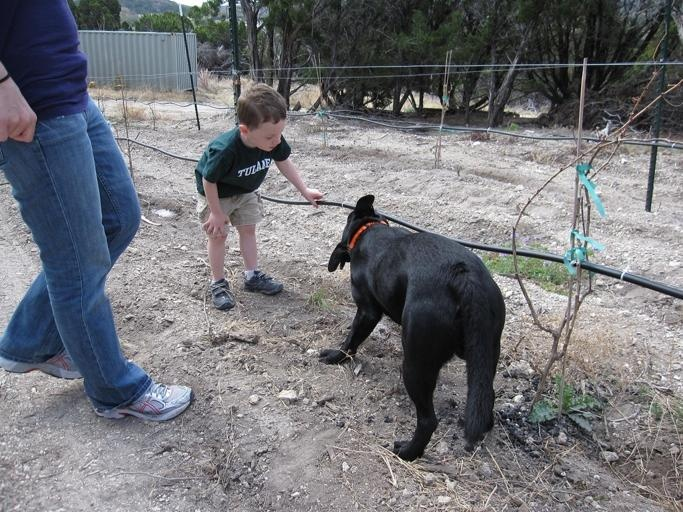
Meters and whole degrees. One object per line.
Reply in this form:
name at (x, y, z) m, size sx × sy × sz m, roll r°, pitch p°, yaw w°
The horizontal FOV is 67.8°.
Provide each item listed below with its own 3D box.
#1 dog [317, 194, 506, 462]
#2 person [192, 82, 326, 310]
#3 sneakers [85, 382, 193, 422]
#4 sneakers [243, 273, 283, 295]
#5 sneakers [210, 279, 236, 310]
dog at (0.336, 0.330, 2.991) m, size 0.546 × 1.085 × 1.736 m, roll -9°, pitch 20°, yaw -20°
person at (-0.628, -0.386, 3.478) m, size 0.729 × 1.499 × 0.544 m, roll -5°, pitch 23°, yaw -14°
sneakers at (-1.045, 0.727, 2.659) m, size 0.469 × 0.248 × 0.194 m, roll -4°, pitch 21°, yaw -13°
sneakers at (-0.590, 0.209, 3.814) m, size 0.271 × 0.145 × 0.139 m, roll 7°, pitch 25°, yaw 10°
sneakers at (-0.841, 0.270, 3.579) m, size 0.101 × 0.116 × 0.272 m, roll -11°, pitch 20°, yaw -21°
